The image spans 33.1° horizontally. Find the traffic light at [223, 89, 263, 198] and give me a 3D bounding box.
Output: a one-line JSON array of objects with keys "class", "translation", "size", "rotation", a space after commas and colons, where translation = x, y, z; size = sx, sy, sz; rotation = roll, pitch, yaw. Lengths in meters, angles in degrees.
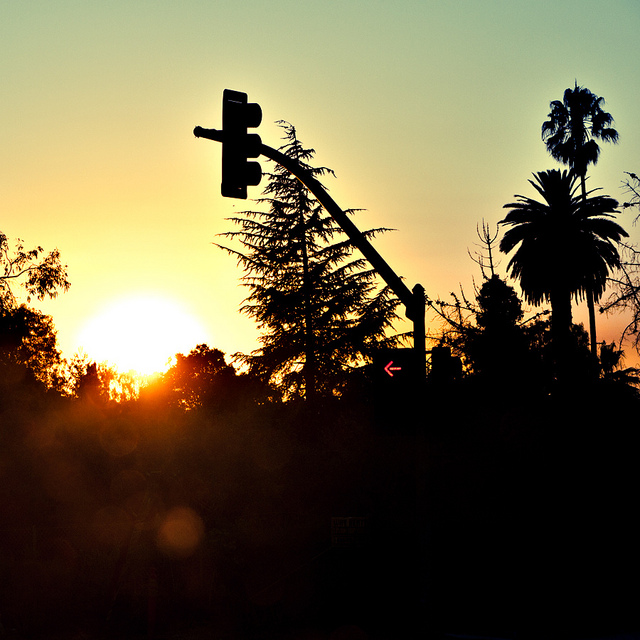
[{"class": "traffic light", "translation": [-1.148, -2.537, 15.596], "size": [0.555, 1.132, 1.040], "rotation": [0, -42, 3]}]
